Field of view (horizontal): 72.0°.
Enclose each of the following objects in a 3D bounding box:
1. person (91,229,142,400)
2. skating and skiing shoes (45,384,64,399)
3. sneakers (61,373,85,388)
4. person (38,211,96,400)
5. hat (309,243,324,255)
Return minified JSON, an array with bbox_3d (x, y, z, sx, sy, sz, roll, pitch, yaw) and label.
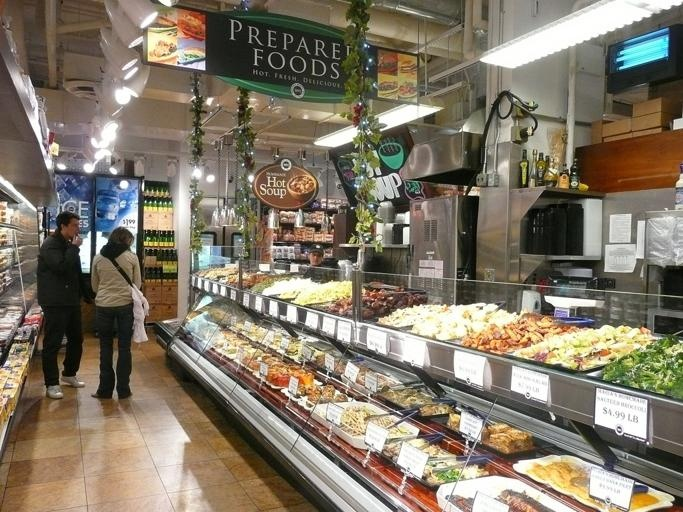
[{"bbox_3d":[-2.750,0.669,5.689,0.520,2.036,0.378,1,2,10],"label":"person"},{"bbox_3d":[-3.360,1.588,5.544,0.103,0.109,0.285,3,-4,-40],"label":"skating and skiing shoes"},{"bbox_3d":[-3.435,1.593,6.043,0.365,0.148,0.131,7,3,-7],"label":"sneakers"},{"bbox_3d":[-3.404,0.569,5.706,0.463,2.202,0.794,0,2,-29],"label":"person"},{"bbox_3d":[-0.494,-0.141,9.076,0.282,0.226,0.426,7,-4,-1],"label":"hat"}]
